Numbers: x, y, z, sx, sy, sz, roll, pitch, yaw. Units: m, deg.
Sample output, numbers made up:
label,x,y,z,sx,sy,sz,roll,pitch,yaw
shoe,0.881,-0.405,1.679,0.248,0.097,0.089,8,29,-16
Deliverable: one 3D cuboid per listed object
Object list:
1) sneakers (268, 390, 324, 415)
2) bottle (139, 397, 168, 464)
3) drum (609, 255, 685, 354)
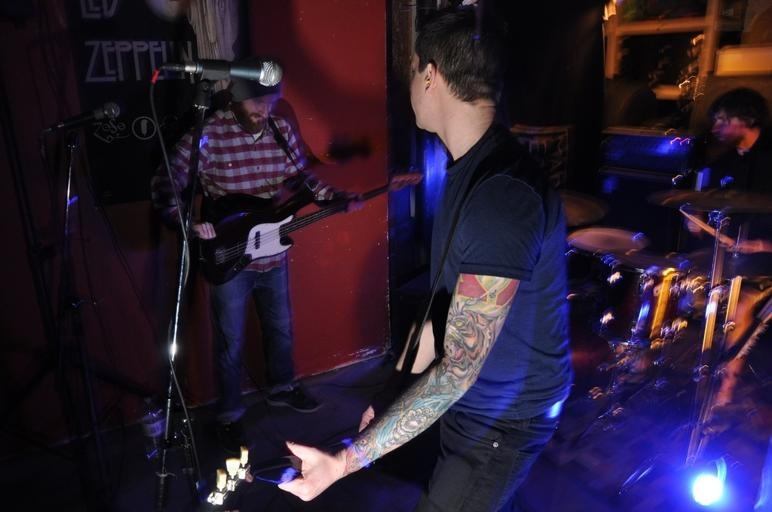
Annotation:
label,x,y,z,sx,sy,sz,roll,pitch,yaw
sneakers,-0.762,1.203,5.112,0.482,0.205,0.179,3,0,3
bottle,-1.738,1.295,4.560,0.162,0.492,0.387,-6,22,-21
drum,1.994,0.342,4.919,0.647,0.650,0.625,12,7,0
